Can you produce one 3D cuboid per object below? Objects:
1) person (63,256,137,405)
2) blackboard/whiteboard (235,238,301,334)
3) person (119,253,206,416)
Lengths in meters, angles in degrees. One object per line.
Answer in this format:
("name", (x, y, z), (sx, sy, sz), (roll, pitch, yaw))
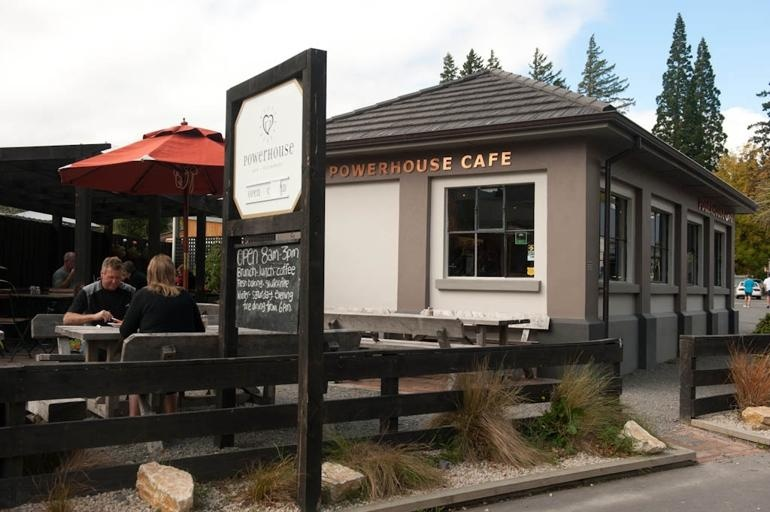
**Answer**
("person", (-3.592, 0.717, 9.253), (0.726, 1.348, 1.004), (8, 2, 35))
("blackboard/whiteboard", (-1.245, 0.343, 7.524), (0.143, 0.941, 1.068), (5, -7, -43))
("person", (-2.631, 0.488, 8.406), (0.936, 1.017, 0.360), (2, -5, -16))
